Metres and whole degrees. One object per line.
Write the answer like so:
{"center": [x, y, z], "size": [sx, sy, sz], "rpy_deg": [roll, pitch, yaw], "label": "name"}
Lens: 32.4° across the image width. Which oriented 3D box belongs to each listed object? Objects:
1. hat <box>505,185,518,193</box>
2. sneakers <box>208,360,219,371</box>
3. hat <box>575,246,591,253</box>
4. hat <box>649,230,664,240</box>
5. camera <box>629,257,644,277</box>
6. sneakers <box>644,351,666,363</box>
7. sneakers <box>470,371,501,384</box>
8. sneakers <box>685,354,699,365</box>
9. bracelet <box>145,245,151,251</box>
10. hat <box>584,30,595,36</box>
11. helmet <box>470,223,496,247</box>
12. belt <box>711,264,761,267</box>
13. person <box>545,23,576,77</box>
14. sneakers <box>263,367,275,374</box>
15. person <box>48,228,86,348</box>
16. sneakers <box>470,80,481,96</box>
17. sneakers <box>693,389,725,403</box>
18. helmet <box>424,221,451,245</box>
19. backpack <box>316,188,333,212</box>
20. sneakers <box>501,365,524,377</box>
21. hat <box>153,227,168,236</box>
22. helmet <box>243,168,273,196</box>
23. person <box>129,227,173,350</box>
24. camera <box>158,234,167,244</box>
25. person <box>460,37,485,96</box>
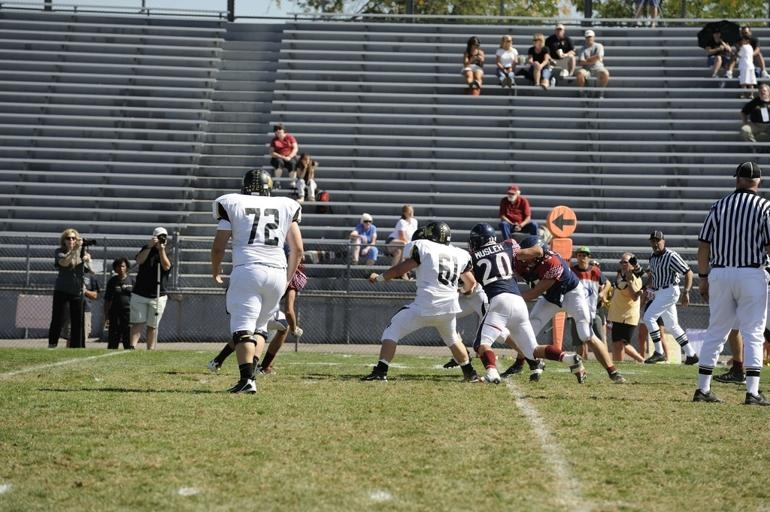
{"center": [2.962, -1.538, 30.599], "size": [0.239, 0.140, 0.290], "rpy_deg": [2, 4, 19], "label": "hat"}
{"center": [-3.109, 1.988, 23.984], "size": [0.153, 0.169, 0.252], "rpy_deg": [8, 10, -11], "label": "sneakers"}
{"center": [4.231, -0.136, 28.253], "size": [0.193, 0.092, 0.264], "rpy_deg": [1, -8, 7], "label": "hat"}
{"center": [5.590, -0.450, 27.388], "size": [0.275, 0.193, 0.394], "rpy_deg": [-12, -10, 21], "label": "hat"}
{"center": [5.324, 0.269, 28.467], "size": [0.259, 0.434, 0.328], "rpy_deg": [-43, -13, 17], "label": "camera"}
{"center": [5.729, 2.161, 28.043], "size": [0.529, 0.213, 0.183], "rpy_deg": [-1, -3, -7], "label": "sneakers"}
{"center": [1.754, 2.220, 24.097], "size": [0.652, 0.254, 0.213], "rpy_deg": [3, -5, 12], "label": "sneakers"}
{"center": [6.381, 2.166, 27.546], "size": [0.171, 0.195, 0.472], "rpy_deg": [-15, -17, 21], "label": "sneakers"}
{"center": [-4.886, -0.166, 27.282], "size": [0.095, 0.064, 0.072], "rpy_deg": [4, 4, -18], "label": "bracelet"}
{"center": [5.361, -5.852, 34.755], "size": [0.204, 0.137, 0.277], "rpy_deg": [-2, -1, 12], "label": "hat"}
{"center": [1.793, -0.370, 24.438], "size": [0.401, 0.426, 0.473], "rpy_deg": [-1, 13, -16], "label": "helmet"}
{"center": [6.079, 0.168, 22.947], "size": [0.833, 0.081, 0.184], "rpy_deg": [3, 1, 24], "label": "belt"}
{"center": [4.519, -5.299, 34.611], "size": [0.925, 1.357, 0.904], "rpy_deg": [0, 17, 3], "label": "person"}
{"center": [-2.150, 2.111, 24.371], "size": [0.253, 0.099, 0.081], "rpy_deg": [-9, 38, 6], "label": "sneakers"}
{"center": [-6.601, 0.687, 27.737], "size": [0.741, 2.034, 0.557], "rpy_deg": [3, 1, -15], "label": "person"}
{"center": [2.359, -4.349, 34.511], "size": [0.208, 0.440, 0.204], "rpy_deg": [-18, 13, -23], "label": "sneakers"}
{"center": [5.618, 2.429, 22.936], "size": [0.492, 0.189, 0.200], "rpy_deg": [0, -1, -2], "label": "sneakers"}
{"center": [0.977, -0.427, 24.202], "size": [0.492, 0.401, 0.349], "rpy_deg": [2, 11, 5], "label": "helmet"}
{"center": [-1.479, -1.296, 32.052], "size": [0.396, 0.500, 0.536], "rpy_deg": [4, 1, 8], "label": "backpack"}
{"center": [2.384, 2.176, 24.996], "size": [0.459, 0.175, 0.165], "rpy_deg": [-6, 8, -27], "label": "sneakers"}
{"center": [-4.810, -0.520, 28.383], "size": [0.262, 0.166, 0.357], "rpy_deg": [1, -6, -44], "label": "hat"}
{"center": [-2.219, -1.296, 23.154], "size": [0.411, 0.422, 0.511], "rpy_deg": [4, 16, -2], "label": "helmet"}
{"center": [-4.884, 0.682, 27.429], "size": [0.801, 2.130, 0.514], "rpy_deg": [3, 1, -1], "label": "person"}
{"center": [-4.603, -0.351, 27.364], "size": [0.121, 0.172, 0.293], "rpy_deg": [3, 1, 17], "label": "camera"}
{"center": [2.326, -4.935, 34.608], "size": [0.561, 1.574, 0.884], "rpy_deg": [3, -37, 5], "label": "person"}
